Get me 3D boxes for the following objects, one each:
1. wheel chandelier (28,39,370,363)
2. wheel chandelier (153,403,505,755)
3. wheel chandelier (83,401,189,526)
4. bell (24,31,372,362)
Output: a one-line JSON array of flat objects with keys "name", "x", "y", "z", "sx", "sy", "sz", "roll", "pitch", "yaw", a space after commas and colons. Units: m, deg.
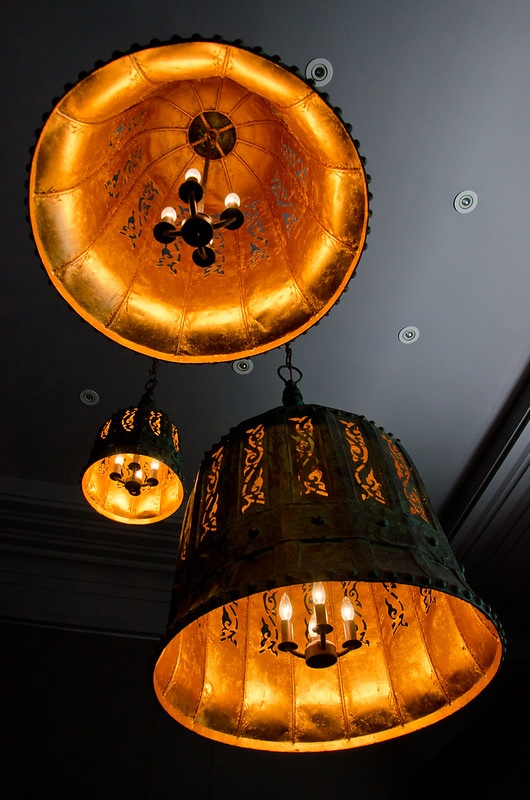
[{"name": "wheel chandelier", "x": -0.273, "y": -0.626, "z": 2.445, "sx": 1.116, "sy": 1.214, "sz": 1.084, "roll": 3, "pitch": -76, "yaw": 1}, {"name": "wheel chandelier", "x": 0.113, "y": 0.444, "z": 1.691, "sx": 0.826, "sy": 0.736, "sz": 0.844, "roll": 9, "pitch": -50, "yaw": -17}, {"name": "wheel chandelier", "x": -0.690, "y": 0.264, "z": 3.270, "sx": 0.484, "sy": 0.709, "sz": 0.504, "roll": -2, "pitch": -9, "yaw": -22}, {"name": "bell", "x": -0.245, "y": -0.684, "z": 2.359, "sx": 1.114, "sy": 1.212, "sz": 1.080, "roll": 5, "pitch": -74, "yaw": 0}]
